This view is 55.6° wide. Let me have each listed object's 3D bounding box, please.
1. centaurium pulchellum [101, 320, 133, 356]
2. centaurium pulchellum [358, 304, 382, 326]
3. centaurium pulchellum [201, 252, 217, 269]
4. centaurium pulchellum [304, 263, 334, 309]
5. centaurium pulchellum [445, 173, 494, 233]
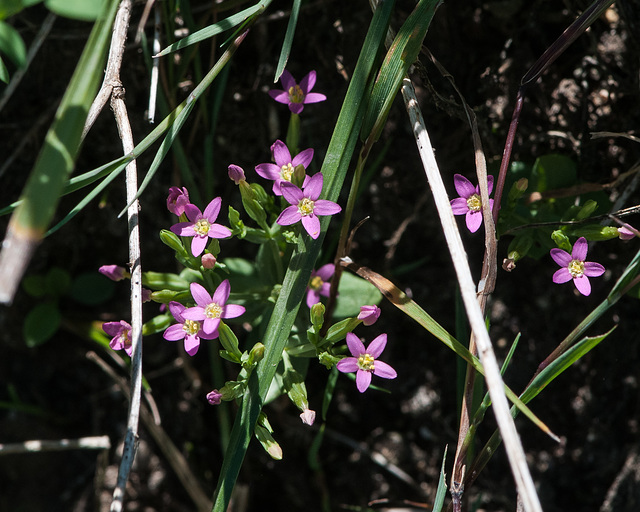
[{"bbox_3d":[-0.861,0.335,2.653,0.126,0.168,0.075,-14,13,19],"label":"centaurium pulchellum"},{"bbox_3d":[0.216,0.243,2.611,0.088,0.093,0.075,-7,29,13],"label":"centaurium pulchellum"},{"bbox_3d":[-0.478,0.020,2.602,0.051,0.069,0.053,5,3,-9],"label":"centaurium pulchellum"},{"bbox_3d":[0.001,0.158,3.028,0.164,0.198,0.046,15,-7,40],"label":"centaurium pulchellum"},{"bbox_3d":[0.676,-0.248,2.696,0.194,0.253,0.105,-29,-14,31],"label":"centaurium pulchellum"}]
